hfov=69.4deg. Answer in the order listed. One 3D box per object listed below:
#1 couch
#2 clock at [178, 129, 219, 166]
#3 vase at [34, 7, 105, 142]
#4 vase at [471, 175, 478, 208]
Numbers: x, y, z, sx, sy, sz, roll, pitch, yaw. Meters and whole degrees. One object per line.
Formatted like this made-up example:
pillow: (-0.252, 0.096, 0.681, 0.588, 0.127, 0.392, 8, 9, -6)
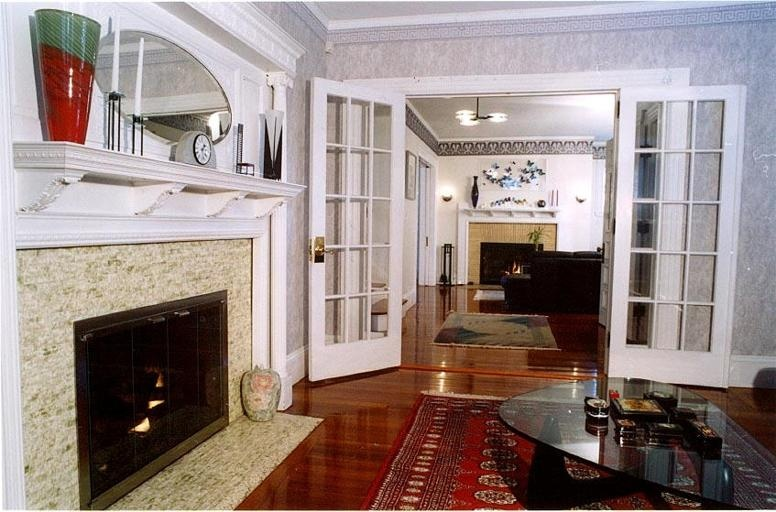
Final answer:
couch: (2.386, 0.379, 8.360, 1.295, 0.751, 2.115, 2, 6, 9)
clock: (-1.193, -0.664, 3.484, 0.090, 0.218, 0.283, 5, 3, 21)
vase: (-1.550, -0.868, 2.747, 0.268, 0.627, 0.162, -4, 12, -25)
vase: (1.694, -1.238, 10.953, 0.176, 0.615, 0.165, 2, 11, 7)
